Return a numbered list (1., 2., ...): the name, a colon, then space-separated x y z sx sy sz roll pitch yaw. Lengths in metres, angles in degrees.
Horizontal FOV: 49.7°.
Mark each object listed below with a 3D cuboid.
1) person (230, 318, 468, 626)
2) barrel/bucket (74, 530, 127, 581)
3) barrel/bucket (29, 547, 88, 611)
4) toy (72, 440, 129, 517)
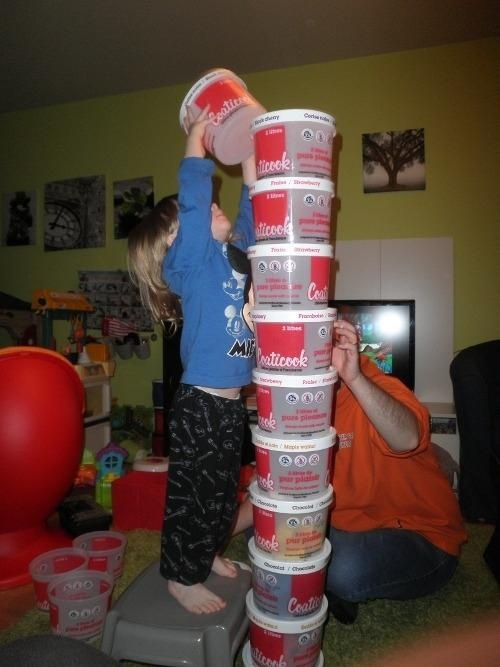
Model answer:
1. person: 0.354 0.397 1.745 0.733 0.918 0.777 -1 -9 7
2. barrel/bucket: -0.493 0.724 1.787 0.143 0.116 0.153 -1 -5 0
3. barrel/bucket: -0.603 0.728 1.659 0.179 0.160 0.176 1 -2 0
4. toy: -0.727 0.693 2.622 0.191 0.170 0.298 0 4 -17
